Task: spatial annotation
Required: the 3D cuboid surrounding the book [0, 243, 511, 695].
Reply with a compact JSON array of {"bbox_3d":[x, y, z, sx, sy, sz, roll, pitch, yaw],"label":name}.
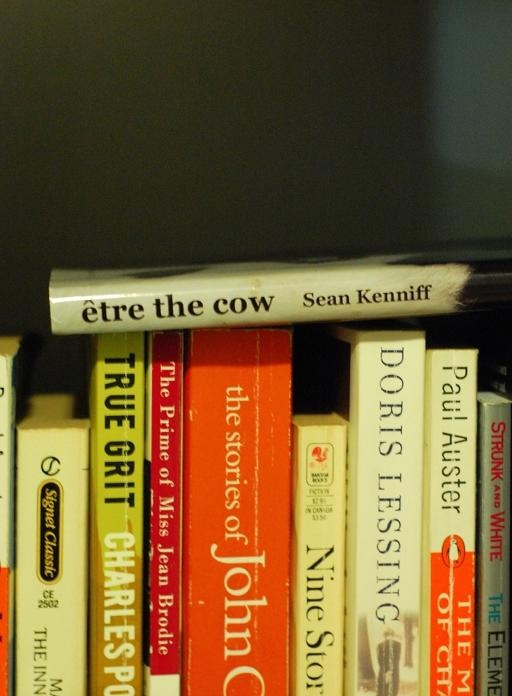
[{"bbox_3d":[0.006,0.096,0.582,0.368,0.307,0.077,1,6,-2],"label":"book"}]
